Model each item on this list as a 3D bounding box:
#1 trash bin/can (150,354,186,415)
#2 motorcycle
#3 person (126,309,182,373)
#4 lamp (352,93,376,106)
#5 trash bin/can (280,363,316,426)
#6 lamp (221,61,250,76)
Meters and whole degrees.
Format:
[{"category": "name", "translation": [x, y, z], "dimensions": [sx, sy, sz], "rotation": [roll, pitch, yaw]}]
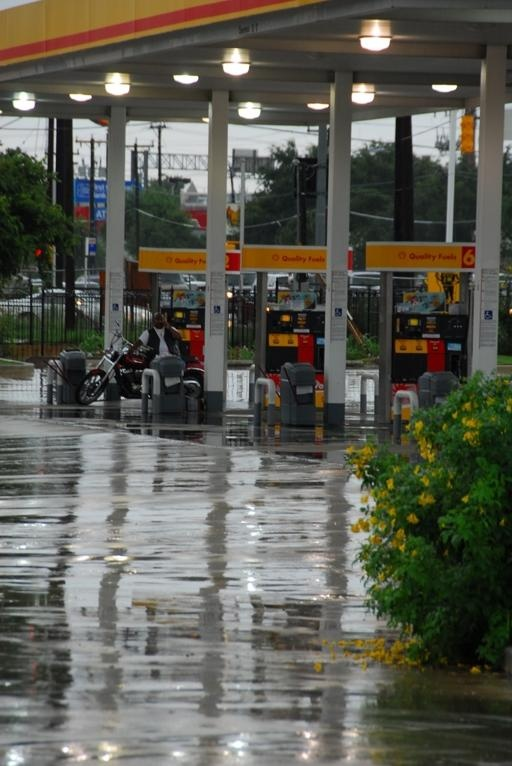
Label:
[{"category": "trash bin/can", "translation": [-1.125, 0.055, 22.077], "dimensions": [0.513, 0.788, 0.518], "rotation": [0, 2, -24]}, {"category": "motorcycle", "translation": [-1.660, -0.316, 23.531], "dimensions": [1.662, 1.315, 1.031], "rotation": [-2, 8, -9]}, {"category": "person", "translation": [-1.417, -0.659, 23.313], "dimensions": [0.688, 1.400, 0.681], "rotation": [0, -12, -16]}, {"category": "lamp", "translation": [1.461, -3.820, 21.917], "dimensions": [0.267, 0.209, 0.287], "rotation": [2, 6, 31]}, {"category": "trash bin/can", "translation": [0.504, 0.164, 21.110], "dimensions": [0.391, 0.806, 0.679], "rotation": [-1, 3, -41]}, {"category": "lamp", "translation": [-0.226, -3.746, 19.328], "dimensions": [0.302, 0.139, 0.432], "rotation": [2, 2, 30]}]
